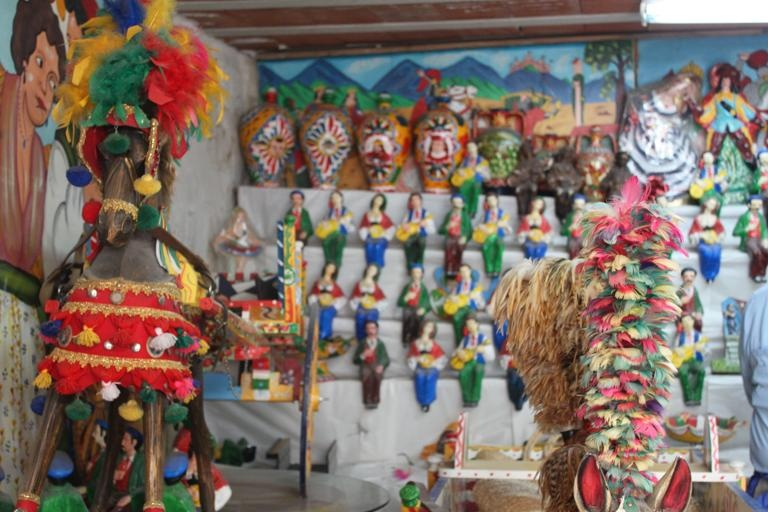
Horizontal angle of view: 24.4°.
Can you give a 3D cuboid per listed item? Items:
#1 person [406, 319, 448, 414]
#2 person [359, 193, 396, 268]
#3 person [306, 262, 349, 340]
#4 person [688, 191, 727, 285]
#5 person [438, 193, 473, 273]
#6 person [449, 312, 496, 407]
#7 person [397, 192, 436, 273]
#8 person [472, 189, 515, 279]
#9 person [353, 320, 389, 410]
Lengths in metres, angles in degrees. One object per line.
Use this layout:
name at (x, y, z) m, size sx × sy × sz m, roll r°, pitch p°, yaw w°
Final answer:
person at (0.376, 0.955, 15.621) m, size 0.339 × 0.792 × 0.249 m, roll -1°, pitch -11°, yaw 7°
person at (-0.061, -0.225, 15.905) m, size 0.313 × 0.714 × 0.254 m, roll 1°, pitch -11°, yaw -1°
person at (-0.507, 0.406, 15.781) m, size 0.266 × 0.698 × 0.227 m, roll 8°, pitch -13°, yaw -32°
person at (2.875, -0.161, 15.907) m, size 0.305 × 0.746 × 0.247 m, roll 2°, pitch -11°, yaw -7°
person at (0.634, -0.183, 15.851) m, size 0.276 × 0.759 × 0.237 m, roll -1°, pitch -11°, yaw 11°
person at (0.777, 0.916, 15.573) m, size 0.276 × 0.781 × 0.252 m, roll 7°, pitch -13°, yaw -32°
person at (0.276, -0.223, 15.896) m, size 0.335 × 0.711 × 0.295 m, roll 0°, pitch -11°, yaw 4°
person at (0.947, -0.190, 15.893) m, size 0.286 × 0.764 × 0.291 m, roll 6°, pitch -12°, yaw -26°
person at (-0.110, 0.934, 15.561) m, size 0.301 × 0.761 × 0.216 m, roll 1°, pitch -11°, yaw 1°
